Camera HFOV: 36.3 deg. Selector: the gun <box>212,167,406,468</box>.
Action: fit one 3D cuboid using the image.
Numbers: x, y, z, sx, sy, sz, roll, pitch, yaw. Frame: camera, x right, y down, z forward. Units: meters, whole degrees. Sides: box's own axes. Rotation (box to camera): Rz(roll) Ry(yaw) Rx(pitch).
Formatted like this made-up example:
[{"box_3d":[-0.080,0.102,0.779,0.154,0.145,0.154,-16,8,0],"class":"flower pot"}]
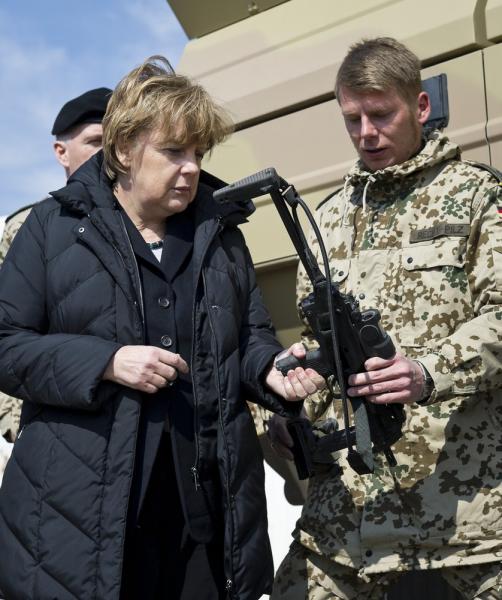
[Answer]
[{"box_3d":[0.177,0.072,2.026,0.365,0.822,0.663,-12,-8,9],"class":"gun"}]
